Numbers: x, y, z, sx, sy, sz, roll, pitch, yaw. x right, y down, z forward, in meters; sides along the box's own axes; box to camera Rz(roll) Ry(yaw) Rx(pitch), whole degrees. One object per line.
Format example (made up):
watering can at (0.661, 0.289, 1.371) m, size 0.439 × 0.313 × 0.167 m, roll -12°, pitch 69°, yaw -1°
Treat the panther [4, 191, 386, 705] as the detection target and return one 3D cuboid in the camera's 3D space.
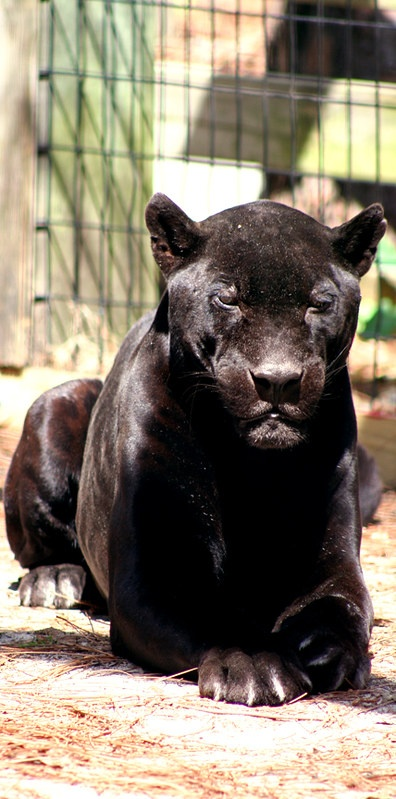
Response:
panther at (-0.040, 0.060, 3.168) m, size 0.930 × 1.259 × 1.722 m, roll 0°, pitch 4°, yaw -10°
